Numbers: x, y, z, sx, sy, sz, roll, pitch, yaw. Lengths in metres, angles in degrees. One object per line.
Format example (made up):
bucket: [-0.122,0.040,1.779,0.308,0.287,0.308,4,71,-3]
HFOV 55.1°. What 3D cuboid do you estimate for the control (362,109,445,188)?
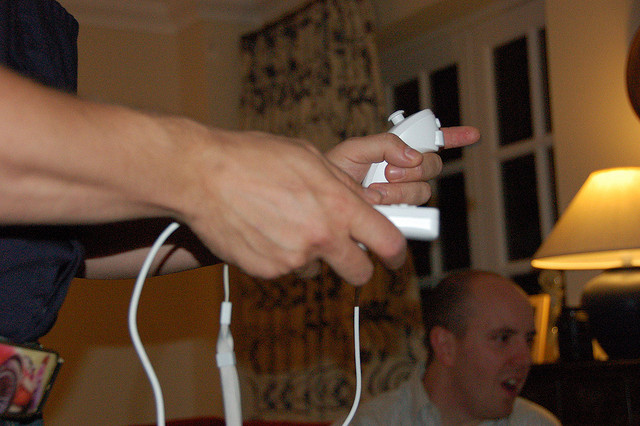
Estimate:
control: [0.161,-0.138,1.265,0.183,0.155,0.104,-3,4,-26]
